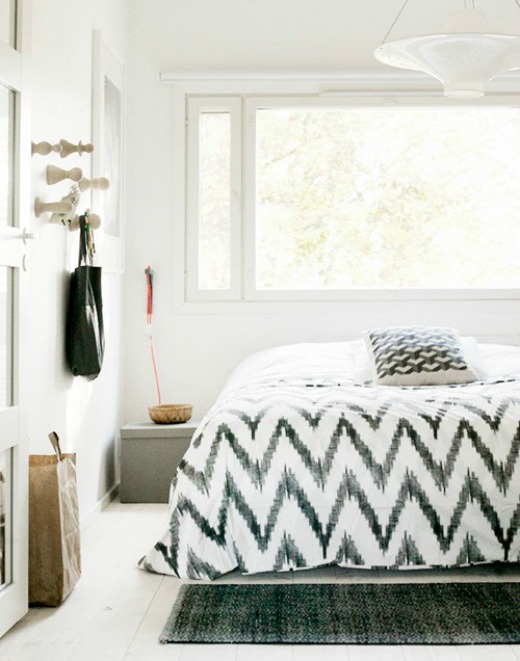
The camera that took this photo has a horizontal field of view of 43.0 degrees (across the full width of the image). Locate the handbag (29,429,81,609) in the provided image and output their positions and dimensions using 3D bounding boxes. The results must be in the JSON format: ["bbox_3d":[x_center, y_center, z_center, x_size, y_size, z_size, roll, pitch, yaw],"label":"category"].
[{"bbox_3d":[-0.616,0.553,1.993,0.150,0.488,0.266,0,-1,-21],"label":"handbag"}]

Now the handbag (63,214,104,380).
[{"bbox_3d":[-0.692,-0.125,2.613,0.135,0.641,0.316,0,-1,-10],"label":"handbag"}]

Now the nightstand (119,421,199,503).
[{"bbox_3d":[-0.522,0.620,3.220,0.266,0.406,0.292,0,-11,-1],"label":"nightstand"}]
